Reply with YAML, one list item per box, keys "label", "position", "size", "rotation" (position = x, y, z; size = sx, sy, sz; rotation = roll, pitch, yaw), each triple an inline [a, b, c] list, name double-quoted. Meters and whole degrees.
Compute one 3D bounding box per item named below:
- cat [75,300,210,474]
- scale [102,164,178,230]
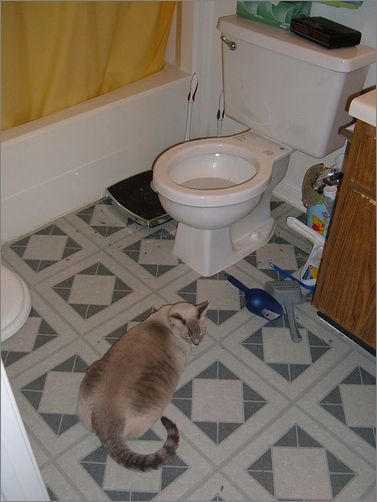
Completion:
- label: "cat"
  position: [-0.135, 0.337, 1.200]
  size: [0.295, 0.177, 0.522]
  rotation: [9, 40, 8]
- label: "scale"
  position: [-0.234, -0.237, 1.994]
  size: [0.289, 0.067, 0.281]
  rotation: [-29, 62, -29]
